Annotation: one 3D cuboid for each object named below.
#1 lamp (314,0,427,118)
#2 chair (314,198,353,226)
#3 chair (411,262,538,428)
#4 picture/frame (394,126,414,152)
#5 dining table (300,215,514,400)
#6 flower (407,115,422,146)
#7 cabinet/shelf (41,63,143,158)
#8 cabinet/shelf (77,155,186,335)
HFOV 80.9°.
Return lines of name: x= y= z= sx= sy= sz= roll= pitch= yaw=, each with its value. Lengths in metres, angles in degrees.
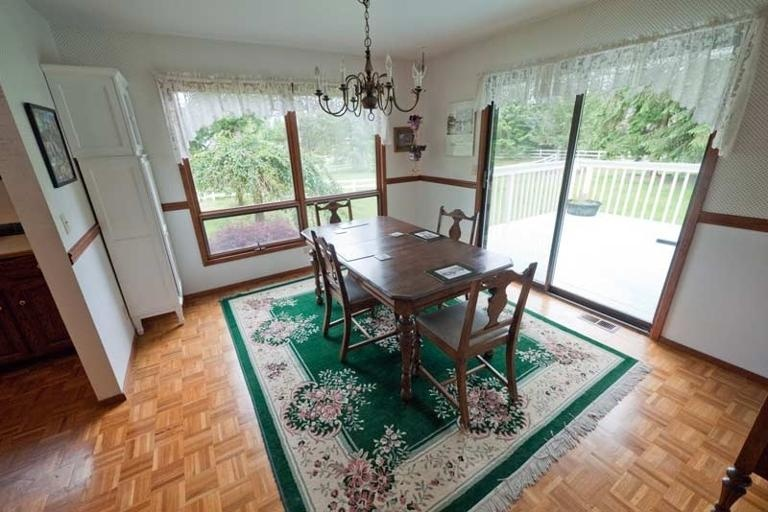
lamp: x=-0.202 y=-2.185 z=4.936 sx=0.869 sy=1.005 sz=0.805 roll=-25 pitch=45 yaw=-22
chair: x=-0.662 y=-0.568 z=5.723 sx=0.309 sy=0.530 sz=0.284 roll=-13 pitch=28 yaw=-23
chair: x=0.763 y=0.817 z=3.965 sx=0.776 sy=1.386 sz=0.773 roll=-19 pitch=38 yaw=-25
picture/frame: x=0.265 y=-1.635 z=6.247 sx=0.340 sy=0.341 sz=0.034 roll=-11 pitch=27 yaw=-27
dining table: x=0.248 y=0.026 z=4.340 sx=1.497 sy=1.177 sz=2.549 roll=-16 pitch=26 yaw=-31
flower: x=0.427 y=-1.717 z=6.142 sx=0.202 sy=0.420 sz=0.452 roll=-2 pitch=20 yaw=4
cabinet/shelf: x=-2.882 y=-1.403 z=4.698 sx=0.732 sy=1.078 sz=1.057 roll=-1 pitch=24 yaw=-5
cabinet/shelf: x=-2.596 y=-0.106 z=4.544 sx=0.613 sy=2.129 sz=1.055 roll=-14 pitch=30 yaw=-17
